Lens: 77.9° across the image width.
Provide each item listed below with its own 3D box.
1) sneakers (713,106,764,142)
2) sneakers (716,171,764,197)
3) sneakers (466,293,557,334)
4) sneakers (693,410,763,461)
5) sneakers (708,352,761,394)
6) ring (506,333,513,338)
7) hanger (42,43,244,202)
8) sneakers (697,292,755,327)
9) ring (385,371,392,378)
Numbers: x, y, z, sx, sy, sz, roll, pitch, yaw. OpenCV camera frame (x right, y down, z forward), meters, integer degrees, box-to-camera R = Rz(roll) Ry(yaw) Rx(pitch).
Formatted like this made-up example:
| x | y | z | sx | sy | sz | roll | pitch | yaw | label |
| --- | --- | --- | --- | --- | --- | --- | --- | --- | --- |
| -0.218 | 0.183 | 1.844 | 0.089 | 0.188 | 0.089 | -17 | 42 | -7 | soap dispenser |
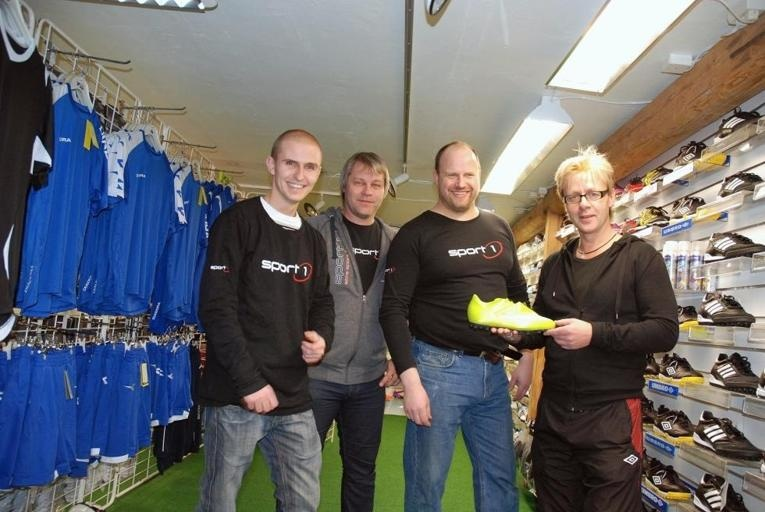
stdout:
| x | y | z | sx | sy | sz | roll | pitch | yaw | label |
| --- | --- | --- | --- | --- | --- | --- | --- | --- | --- |
| 2.732 | -1.048 | 3.760 | 0.145 | 0.178 | 0.415 | -2 | -10 | -44 | sneakers |
| 2.738 | -0.562 | 3.644 | 0.150 | 0.184 | 0.326 | 2 | -9 | -28 | sneakers |
| 0.739 | 0.354 | 2.908 | 0.566 | 0.225 | 0.205 | 6 | -14 | 0 | sneakers |
| 2.531 | 1.373 | 3.548 | 0.202 | 0.267 | 0.426 | 1 | -9 | -21 | sneakers |
| 2.629 | 0.885 | 3.558 | 0.169 | 0.269 | 0.334 | 1 | -9 | -19 | sneakers |
| 0.790 | 0.496 | 2.944 | 0.039 | 0.035 | 0.011 | -3 | 19 | -11 | ring |
| -2.572 | -1.467 | 4.733 | 1.010 | 0.551 | 1.351 | 2 | 1 | 18 | hanger |
| 2.688 | 0.431 | 3.739 | 0.265 | 0.273 | 0.618 | 7 | -2 | 3 | sneakers |
| 0.039 | 0.850 | 3.387 | 0.043 | 0.038 | 0.014 | -4 | -4 | 16 | ring |
